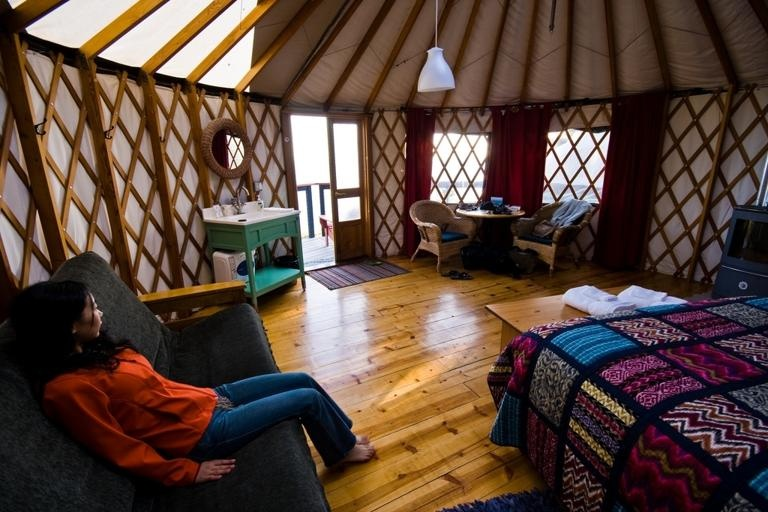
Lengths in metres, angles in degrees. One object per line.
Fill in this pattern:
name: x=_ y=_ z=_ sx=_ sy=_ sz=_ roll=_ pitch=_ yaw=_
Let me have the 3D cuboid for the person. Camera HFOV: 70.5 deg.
person: x=-0.939 y=0.727 z=3.130 sx=1.951 sy=1.159 sz=0.753 roll=0 pitch=14 yaw=-16

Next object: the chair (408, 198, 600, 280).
chair: x=1.296 y=-0.282 z=6.462 sx=1.976 sy=0.740 sz=1.018 roll=1 pitch=13 yaw=10

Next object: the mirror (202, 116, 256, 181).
mirror: x=-1.535 y=-1.042 z=5.267 sx=0.082 sy=0.713 sz=0.703 roll=2 pitch=1 yaw=23

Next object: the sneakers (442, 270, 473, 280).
sneakers: x=0.830 y=0.210 z=6.011 sx=0.177 sy=0.049 sz=0.144 roll=-5 pitch=12 yaw=-26
